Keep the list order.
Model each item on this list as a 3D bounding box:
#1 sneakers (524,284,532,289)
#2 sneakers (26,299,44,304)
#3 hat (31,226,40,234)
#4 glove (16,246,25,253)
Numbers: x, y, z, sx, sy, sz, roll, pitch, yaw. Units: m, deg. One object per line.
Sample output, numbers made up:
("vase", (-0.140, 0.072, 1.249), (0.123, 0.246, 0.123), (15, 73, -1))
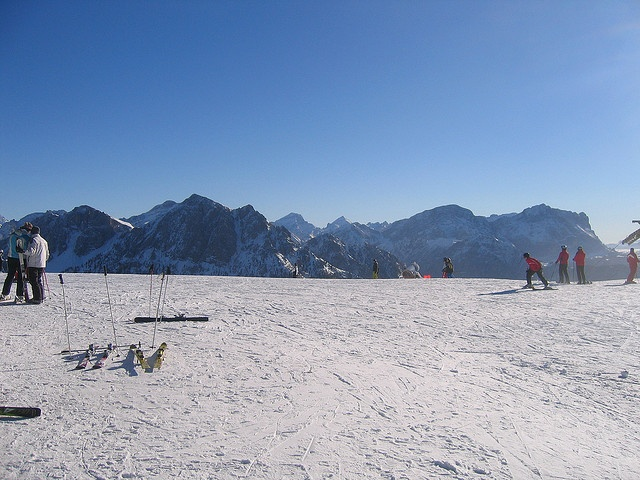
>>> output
("sneakers", (14.412, 3.214, 32.467), (0.217, 0.303, 0.653), (-8, -12, -11))
("sneakers", (-12.443, 2.658, 20.419), (0.643, 0.307, 0.208), (-1, 4, -6))
("hat", (-12.172, -0.440, 19.964), (0.265, 0.383, 0.356), (8, -6, -21))
("glove", (-12.793, 0.400, 19.945), (0.260, 0.312, 0.755), (-4, 11, -37))
